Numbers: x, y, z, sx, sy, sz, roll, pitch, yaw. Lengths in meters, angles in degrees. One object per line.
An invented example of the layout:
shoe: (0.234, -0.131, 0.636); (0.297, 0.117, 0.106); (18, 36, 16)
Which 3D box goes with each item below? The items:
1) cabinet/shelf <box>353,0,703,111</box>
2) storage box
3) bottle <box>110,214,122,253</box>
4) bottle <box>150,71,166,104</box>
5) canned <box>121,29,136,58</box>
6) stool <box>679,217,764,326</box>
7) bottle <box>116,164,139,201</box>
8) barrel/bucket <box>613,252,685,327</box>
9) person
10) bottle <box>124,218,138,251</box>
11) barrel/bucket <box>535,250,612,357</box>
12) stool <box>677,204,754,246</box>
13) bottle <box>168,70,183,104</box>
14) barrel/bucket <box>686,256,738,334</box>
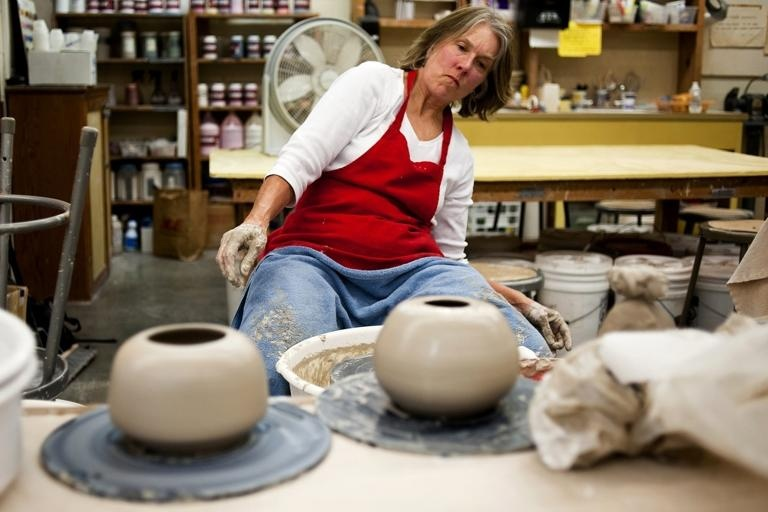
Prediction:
cabinet/shelf: (0.948, -1.290, 4.653); (1.573, 0.972, 0.424); (-1, 10, -6)
storage box: (-1.461, -0.280, 5.735); (0.473, 0.605, 0.491); (2, 13, -1)
bottle: (-2.084, -0.165, 5.808); (0.083, 0.253, 0.320); (-5, 19, -18)
bottle: (-1.834, -1.373, 6.004); (0.127, 0.251, 0.246); (-5, 19, -17)
canned: (-2.011, -1.671, 5.824); (0.114, 0.205, 0.084); (-2, 18, -9)
stool: (1.598, 0.094, 3.561); (0.289, 0.531, 0.354); (10, 20, 26)
bottle: (-2.088, -0.614, 6.050); (0.187, 0.301, 0.187); (5, 23, -2)
barrel/bucket: (1.304, 0.130, 3.607); (0.335, 0.331, 0.512); (8, 19, 22)
person: (0.046, -0.265, 2.238); (1.185, 0.931, 0.849); (-9, 20, -29)
bottle: (-2.007, -0.174, 5.884); (0.127, 0.238, 0.178); (-4, 18, -14)
barrel/bucket: (0.920, 0.187, 3.642); (0.329, 0.378, 0.341); (-1, 21, 0)
stool: (1.860, -0.177, 4.196); (0.282, 0.369, 0.277); (-1, 19, -1)
bottle: (-1.691, -1.363, 5.983); (0.118, 0.263, 0.323); (-4, 19, -15)
barrel/bucket: (1.622, 0.257, 3.653); (0.161, 0.166, 0.177); (-5, 52, 13)
